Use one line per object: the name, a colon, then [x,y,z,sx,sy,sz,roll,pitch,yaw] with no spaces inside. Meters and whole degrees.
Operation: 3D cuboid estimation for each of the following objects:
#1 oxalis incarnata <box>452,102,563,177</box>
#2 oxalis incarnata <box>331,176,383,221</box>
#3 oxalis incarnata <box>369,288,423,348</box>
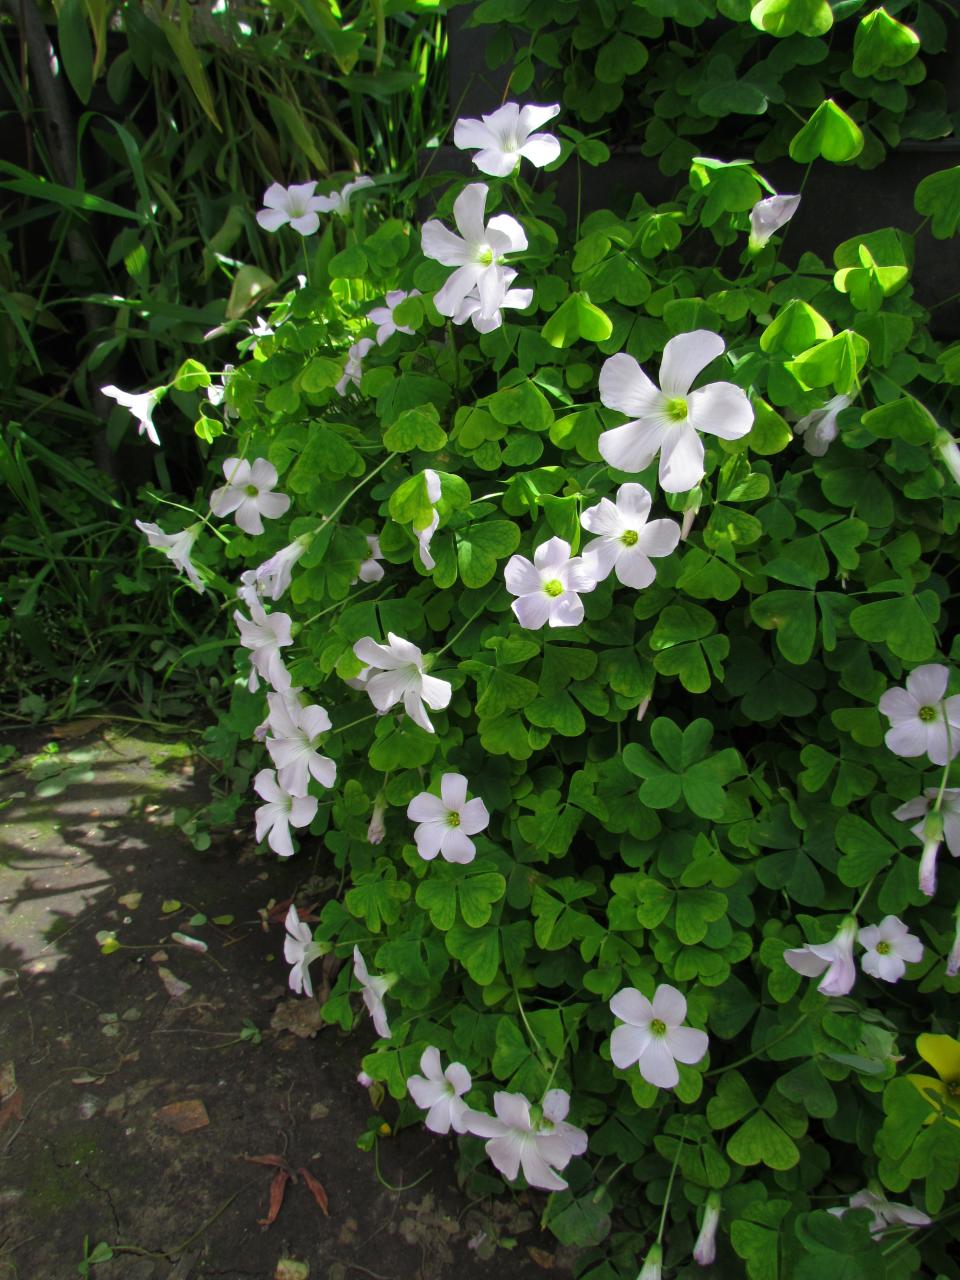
oxalis incarnata: [0.030,-0.610,1.233,0.120,0.089,0.185,-5,33,-5]
oxalis incarnata: [-0.200,-0.687,1.544,0.060,0.056,0.121,-5,32,-5]
oxalis incarnata: [-0.131,-0.462,1.438,0.027,0.093,0.090,-7,38,-44]
